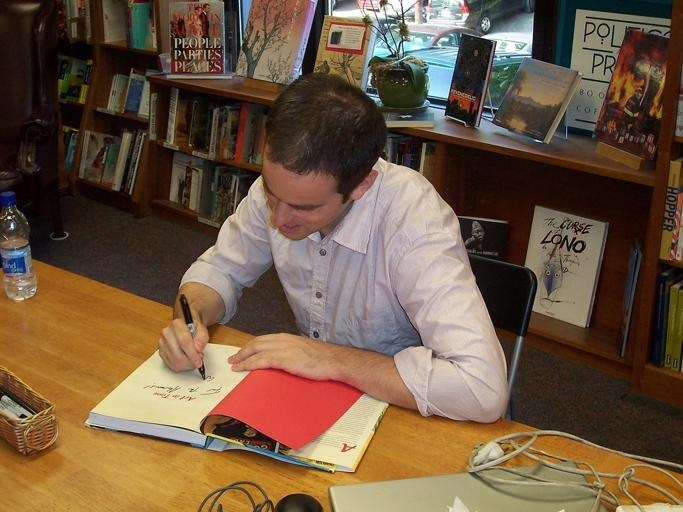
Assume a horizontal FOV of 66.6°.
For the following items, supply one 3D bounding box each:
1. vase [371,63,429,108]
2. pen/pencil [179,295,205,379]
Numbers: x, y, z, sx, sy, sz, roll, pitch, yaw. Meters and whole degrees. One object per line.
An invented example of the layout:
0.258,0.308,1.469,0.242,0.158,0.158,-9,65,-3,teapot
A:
0.309,-0.929,2.734,0.233,0.176,0.217,-23,29,-38,vase
-0.349,0.196,1.220,0.018,0.185,0.019,-24,-23,12,pen/pencil
